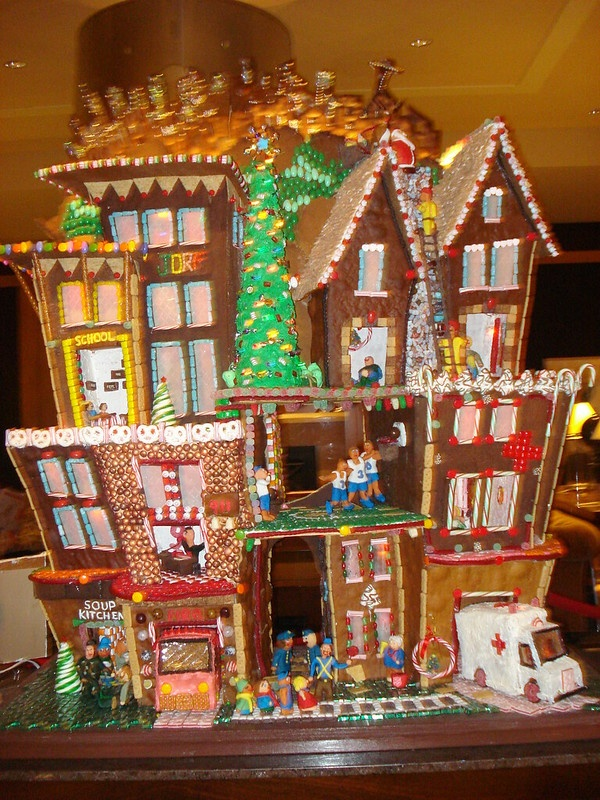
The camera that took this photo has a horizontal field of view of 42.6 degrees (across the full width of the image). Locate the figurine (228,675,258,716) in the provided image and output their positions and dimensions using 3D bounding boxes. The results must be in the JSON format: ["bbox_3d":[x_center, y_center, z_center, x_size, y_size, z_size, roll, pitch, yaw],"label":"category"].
[{"bbox_3d":[-0.353,1.865,4.824,0.183,0.259,0.189,-18,-27,10],"label":"figurine"}]

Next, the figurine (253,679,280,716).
[{"bbox_3d":[-0.218,1.875,4.858,0.174,0.213,0.163,-5,-5,-14],"label":"figurine"}]

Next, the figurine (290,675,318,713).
[{"bbox_3d":[0.034,1.847,4.832,0.150,0.185,0.176,-4,17,-6],"label":"figurine"}]

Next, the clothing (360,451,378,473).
[{"bbox_3d":[0.498,0.463,5.638,0.108,0.165,0.143,-14,7,14],"label":"clothing"}]
